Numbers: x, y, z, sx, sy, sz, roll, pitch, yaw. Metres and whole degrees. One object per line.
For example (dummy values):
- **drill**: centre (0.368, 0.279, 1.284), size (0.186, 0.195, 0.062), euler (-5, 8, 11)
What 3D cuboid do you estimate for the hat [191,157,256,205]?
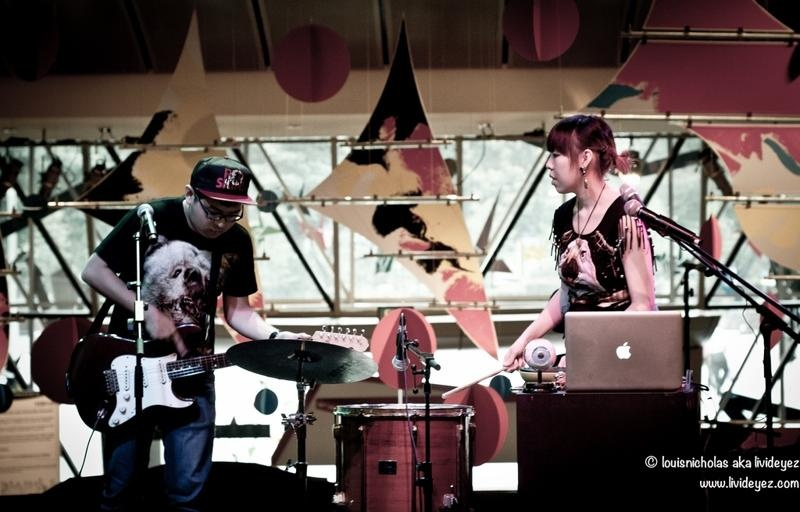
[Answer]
- **hat**: centre (-1.357, -0.584, 10.512), size (0.450, 0.244, 0.341), euler (29, 17, 36)

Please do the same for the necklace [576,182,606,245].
- **necklace**: centre (1.518, -0.311, 10.466), size (0.044, 0.579, 0.144), euler (19, 8, -41)

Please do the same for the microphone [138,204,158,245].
- **microphone**: centre (-1.921, -0.265, 10.370), size (0.146, 0.353, 0.245), euler (4, -12, -13)

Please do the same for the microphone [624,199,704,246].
- **microphone**: centre (2.135, -0.271, 11.029), size (0.494, 0.146, 0.165), euler (36, -27, 10)
